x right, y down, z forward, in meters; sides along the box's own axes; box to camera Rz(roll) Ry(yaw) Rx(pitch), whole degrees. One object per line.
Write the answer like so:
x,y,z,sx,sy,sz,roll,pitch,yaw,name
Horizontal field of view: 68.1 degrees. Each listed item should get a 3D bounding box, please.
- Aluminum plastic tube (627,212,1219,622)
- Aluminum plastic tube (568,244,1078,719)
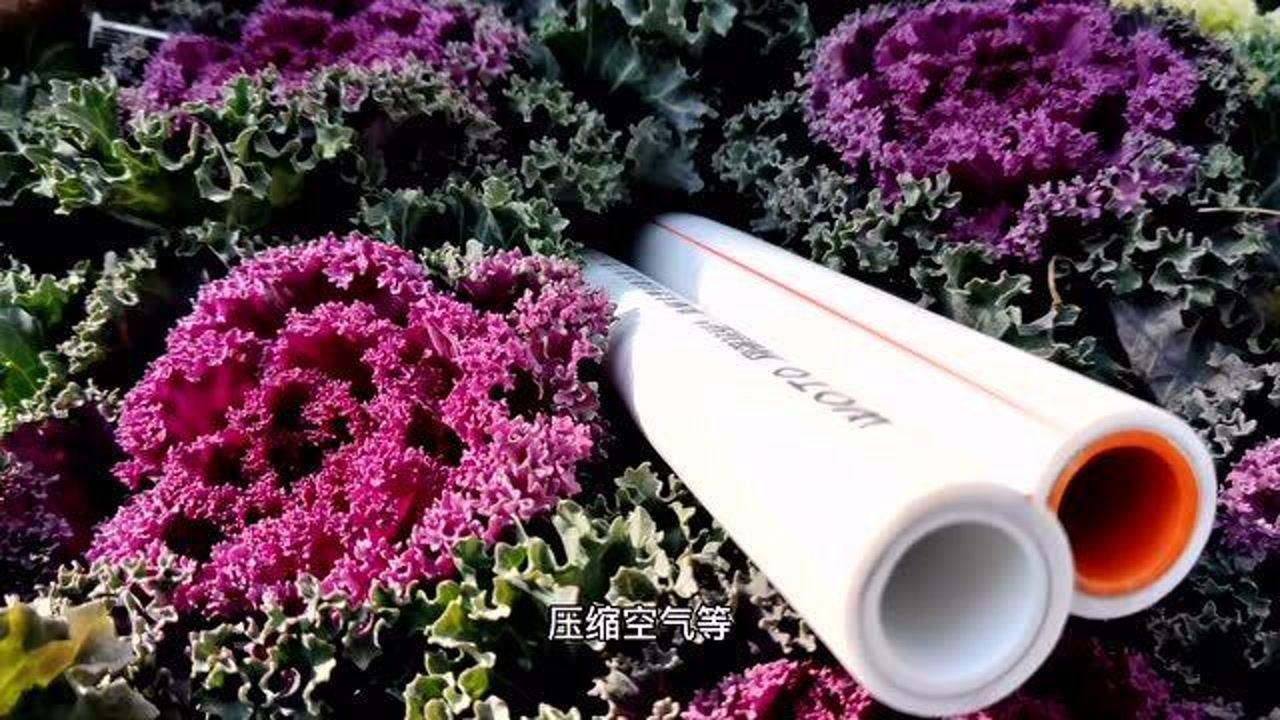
0.300,-0.111,1.899,0.380,0.346,1.605,-49,38,-2,Aluminum plastic tube
0.173,0.098,1.577,0.288,0.289,1.039,-59,32,10,Aluminum plastic tube
